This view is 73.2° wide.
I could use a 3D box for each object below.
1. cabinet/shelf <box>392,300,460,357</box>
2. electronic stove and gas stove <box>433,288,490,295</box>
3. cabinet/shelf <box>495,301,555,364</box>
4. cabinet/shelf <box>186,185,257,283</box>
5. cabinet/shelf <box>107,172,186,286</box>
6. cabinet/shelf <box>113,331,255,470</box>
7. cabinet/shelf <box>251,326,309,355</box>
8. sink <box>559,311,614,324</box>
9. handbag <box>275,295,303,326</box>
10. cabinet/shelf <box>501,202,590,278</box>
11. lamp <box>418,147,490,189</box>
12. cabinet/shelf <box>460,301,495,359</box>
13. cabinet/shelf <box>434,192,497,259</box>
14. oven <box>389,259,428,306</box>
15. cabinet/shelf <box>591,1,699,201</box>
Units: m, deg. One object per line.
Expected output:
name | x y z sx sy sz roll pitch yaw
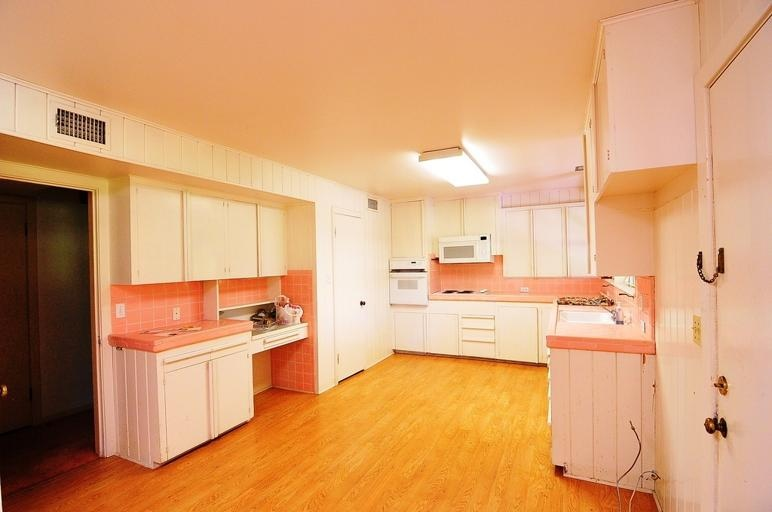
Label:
cabinet/shelf | 0.663 1.034 7.532 1.032 0.674 0.557 0 3 22
electronic stove and gas stove | 1.101 0.515 7.502 0.718 0.070 0.483 2 6 18
cabinet/shelf | 1.747 1.069 7.000 0.798 0.753 0.551 2 -8 -8
cabinet/shelf | -1.664 -0.232 5.186 0.327 0.896 0.990 1 -1 27
cabinet/shelf | -2.151 -0.230 4.716 0.642 0.946 0.300 -3 7 -26
cabinet/shelf | -1.862 1.015 5.279 0.924 1.525 1.684 -3 -3 25
cabinet/shelf | -1.181 0.896 5.618 0.182 0.238 0.797 4 7 34
sink | 2.095 0.638 5.474 0.507 0.111 0.312 3 6 23
handbag | -1.126 0.617 5.924 0.410 0.283 0.255 5 8 41
cabinet/shelf | 2.159 -0.208 6.900 1.049 0.956 0.333 -2 -1 21
lamp | 0.716 -0.972 5.614 0.664 0.301 1.000 2 6 14
cabinet/shelf | 1.325 1.018 7.176 0.614 0.771 0.494 0 5 17
cabinet/shelf | 1.152 -0.422 7.300 0.922 0.807 0.309 0 1 37
oven | 0.346 0.356 7.492 0.583 0.654 0.467 -1 2 19
cabinet/shelf | 1.714 -1.051 3.408 0.509 1.194 1.313 0 1 24
